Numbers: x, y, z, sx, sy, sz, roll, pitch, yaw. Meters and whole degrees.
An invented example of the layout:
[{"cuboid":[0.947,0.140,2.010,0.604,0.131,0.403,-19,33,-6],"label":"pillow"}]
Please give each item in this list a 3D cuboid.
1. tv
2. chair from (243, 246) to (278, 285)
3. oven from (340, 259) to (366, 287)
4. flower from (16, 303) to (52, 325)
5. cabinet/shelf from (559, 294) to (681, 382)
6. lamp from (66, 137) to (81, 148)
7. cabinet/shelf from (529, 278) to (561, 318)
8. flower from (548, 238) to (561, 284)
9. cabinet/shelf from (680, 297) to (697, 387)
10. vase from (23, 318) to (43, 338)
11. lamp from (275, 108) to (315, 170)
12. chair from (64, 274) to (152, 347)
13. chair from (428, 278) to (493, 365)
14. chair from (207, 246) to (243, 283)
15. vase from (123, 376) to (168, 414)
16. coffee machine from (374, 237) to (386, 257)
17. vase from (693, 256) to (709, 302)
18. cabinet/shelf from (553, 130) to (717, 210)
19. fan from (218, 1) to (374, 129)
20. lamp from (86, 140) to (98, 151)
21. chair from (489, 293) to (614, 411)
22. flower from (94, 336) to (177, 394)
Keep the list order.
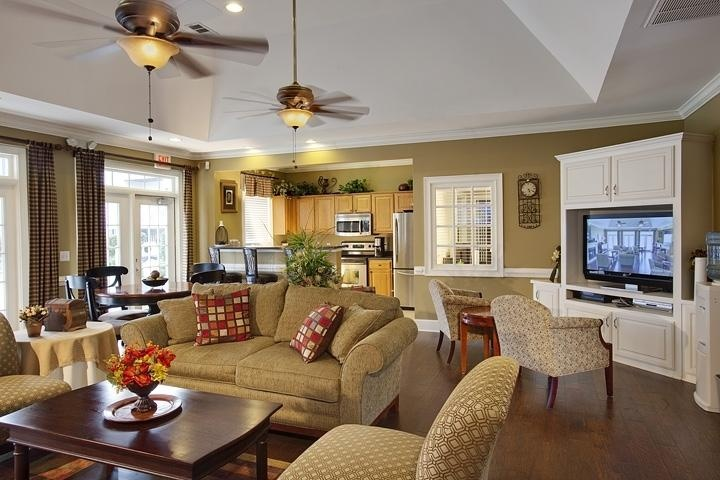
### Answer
[{"cuboid":[3.381,0.160,6.065,0.251,0.933,1.089,1,1,-31],"label":"tv"},{"cuboid":[-1.604,0.527,7.828,0.583,0.757,0.562,1,1,-15],"label":"chair"},{"cuboid":[-0.121,0.651,9.396,0.578,0.527,0.313,0,-6,8],"label":"oven"},{"cuboid":[-3.145,0.735,4.718,0.251,0.160,0.243,3,-9,-9],"label":"flower"},{"cuboid":[3.425,1.134,6.263,0.521,0.927,1.669,-5,3,-21],"label":"cabinet/shelf"},{"cuboid":[-4.116,-1.395,6.977,0.118,0.129,0.241,2,10,15],"label":"lamp"},{"cuboid":[2.671,0.745,6.948,0.458,0.681,0.671,1,-1,0],"label":"cabinet/shelf"},{"cuboid":[2.790,0.326,6.931,0.132,0.503,0.415,3,11,22],"label":"flower"},{"cuboid":[3.711,1.196,5.526,0.089,0.818,0.197,-1,13,40],"label":"cabinet/shelf"},{"cuboid":[-3.110,0.832,4.638,0.173,0.193,0.180,-3,-4,43],"label":"vase"},{"cuboid":[-0.626,-0.961,4.667,0.352,0.475,0.341,1,-7,6],"label":"lamp"},{"cuboid":[-3.289,0.978,6.331,0.819,1.117,0.809,4,7,45],"label":"chair"},{"cuboid":[1.312,1.067,6.400,0.848,0.886,0.879,2,-4,11],"label":"chair"},{"cuboid":[-2.205,0.421,8.158,0.604,0.795,0.678,0,1,-28],"label":"chair"},{"cuboid":[-1.646,1.183,3.732,0.255,0.234,0.249,-1,-8,-1],"label":"vase"},{"cuboid":[0.405,0.123,10.136,0.239,0.339,0.487,-1,10,1],"label":"coffee machine"},{"cuboid":[3.724,0.423,5.281,0.138,0.507,0.128,-4,14,6],"label":"vase"},{"cuboid":[3.316,-0.831,6.058,0.408,0.914,1.535,-11,14,-41],"label":"cabinet/shelf"},{"cuboid":[-0.708,-2.138,5.713,1.569,1.605,1.495,-2,-8,18],"label":"fan"},{"cuboid":[-3.963,-1.401,7.142,0.112,0.049,0.154,1,-2,-3],"label":"lamp"},{"cuboid":[2.079,1.139,5.313,1.221,1.064,1.187,-1,-4,8],"label":"chair"},{"cuboid":[-1.758,1.020,3.851,0.522,0.368,0.588,-3,-10,-36],"label":"flower"}]
